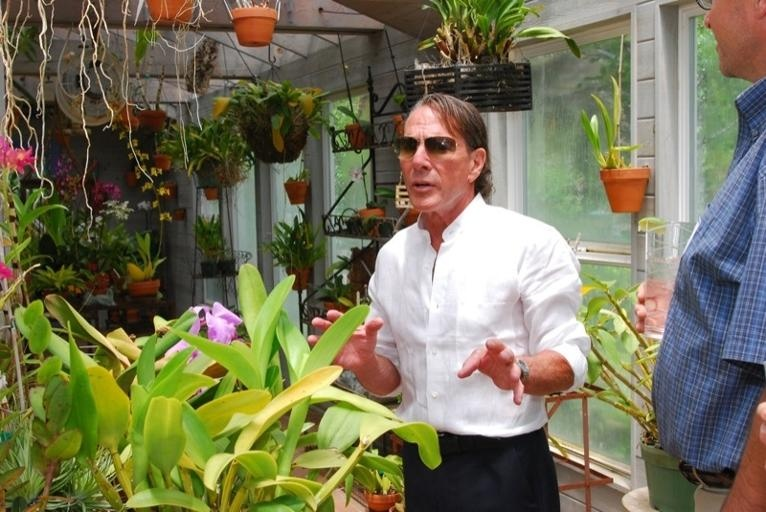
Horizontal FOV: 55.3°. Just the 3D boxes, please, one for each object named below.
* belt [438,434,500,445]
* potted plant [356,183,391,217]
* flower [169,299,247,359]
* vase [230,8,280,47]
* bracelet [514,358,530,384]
[{"bbox_3d":[0.261,0.561,2.201,0.186,0.036,0.013,1,6,14],"label":"belt"},{"bbox_3d":[-0.047,-0.349,4.673,0.206,0.243,0.230,-1,-6,13],"label":"potted plant"},{"bbox_3d":[-0.471,0.186,1.904,0.140,0.083,0.135,2,7,-25],"label":"flower"},{"bbox_3d":[-0.619,-1.119,3.528,0.189,0.170,0.211,-7,9,-43],"label":"vase"},{"bbox_3d":[0.379,0.322,2.020,0.046,0.067,0.020,3,-15,-39],"label":"bracelet"}]
